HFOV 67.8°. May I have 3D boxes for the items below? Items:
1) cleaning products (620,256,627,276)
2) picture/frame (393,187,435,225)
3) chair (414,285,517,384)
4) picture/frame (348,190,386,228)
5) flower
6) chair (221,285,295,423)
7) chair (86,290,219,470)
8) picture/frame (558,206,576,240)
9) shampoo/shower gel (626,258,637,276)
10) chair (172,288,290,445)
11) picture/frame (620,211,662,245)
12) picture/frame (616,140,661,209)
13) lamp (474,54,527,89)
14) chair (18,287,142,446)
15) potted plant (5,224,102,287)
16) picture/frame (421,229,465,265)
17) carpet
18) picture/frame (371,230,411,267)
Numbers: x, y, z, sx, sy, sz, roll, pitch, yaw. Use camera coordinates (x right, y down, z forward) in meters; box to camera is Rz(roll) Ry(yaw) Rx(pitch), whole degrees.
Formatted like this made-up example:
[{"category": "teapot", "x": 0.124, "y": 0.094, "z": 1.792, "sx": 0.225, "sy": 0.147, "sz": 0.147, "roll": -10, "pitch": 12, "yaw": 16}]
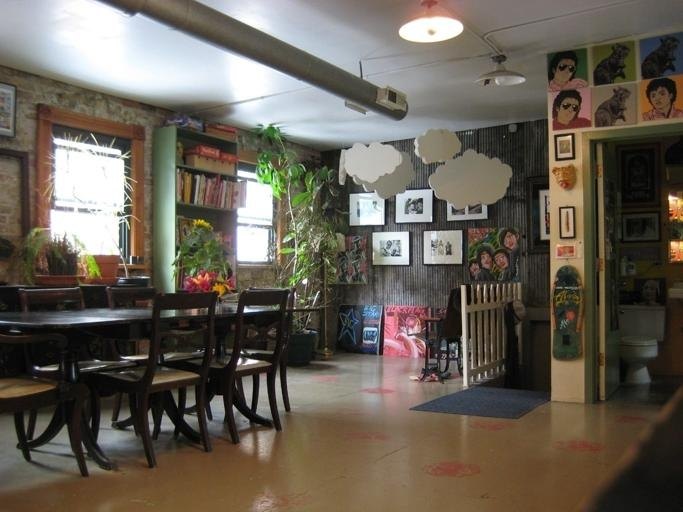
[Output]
[{"category": "cleaning products", "x": 3.589, "y": 0.139, "z": 6.491, "sx": 0.101, "sy": 0.324, "sz": 0.235, "roll": 1, "pitch": -1, "yaw": 32}, {"category": "picture/frame", "x": 1.167, "y": -0.788, "z": 7.990, "sx": 0.595, "sy": 0.518, "sz": 0.043, "roll": 0, "pitch": -6, "yaw": 29}, {"category": "chair", "x": 1.487, "y": 0.911, "z": 6.299, "sx": 0.771, "sy": 1.092, "sz": 1.418, "roll": -3, "pitch": -4, "yaw": 38}, {"category": "picture/frame", "x": 0.445, "y": -0.780, "z": 8.339, "sx": 0.623, "sy": 0.548, "sz": 0.064, "roll": 0, "pitch": -4, "yaw": 25}, {"category": "flower", "x": -1.611, "y": 0.071, "z": 5.906, "sx": 0.697, "sy": 0.961, "sz": 0.711, "roll": -11, "pitch": -16, "yaw": 13}, {"category": "chair", "x": -0.690, "y": 0.848, "z": 4.148, "sx": 0.601, "sy": 0.953, "sz": 0.546, "roll": -19, "pitch": 0, "yaw": -27}, {"category": "chair", "x": -1.242, "y": 0.780, "z": 3.467, "sx": 0.693, "sy": 1.011, "sz": 0.592, "roll": -3, "pitch": -6, "yaw": 28}, {"category": "picture/frame", "x": 2.180, "y": -0.320, "z": 4.928, "sx": 0.023, "sy": 0.323, "sz": 0.158, "roll": -7, "pitch": 6, "yaw": -37}, {"category": "shampoo/shower gel", "x": 3.748, "y": 0.136, "z": 6.604, "sx": 0.107, "sy": 0.188, "sz": 0.214, "roll": -5, "pitch": -6, "yaw": 33}, {"category": "chair", "x": -0.827, "y": 0.809, "z": 3.939, "sx": 0.698, "sy": 1.050, "sz": 0.626, "roll": -4, "pitch": -5, "yaw": 35}, {"category": "picture/frame", "x": 3.979, "y": -0.364, "z": 6.744, "sx": 0.409, "sy": 0.424, "sz": 0.032, "roll": 5, "pitch": -2, "yaw": 28}, {"category": "picture/frame", "x": 4.004, "y": -1.036, "z": 6.881, "sx": 0.513, "sy": 0.977, "sz": 0.082, "roll": 6, "pitch": 25, "yaw": 43}, {"category": "lamp", "x": 1.472, "y": -1.727, "z": 4.735, "sx": 0.418, "sy": 0.229, "sz": 0.429, "roll": 2, "pitch": 10, "yaw": 19}, {"category": "chair", "x": -2.007, "y": 0.763, "z": 3.753, "sx": 0.765, "sy": 0.958, "sz": 0.780, "roll": 8, "pitch": 5, "yaw": -11}, {"category": "potted plant", "x": -2.884, "y": -0.005, "z": 5.152, "sx": 0.824, "sy": 0.580, "sz": 0.447, "roll": 1, "pitch": -3, "yaw": -28}, {"category": "picture/frame", "x": 1.584, "y": -0.139, "z": 7.812, "sx": 0.536, "sy": 0.460, "sz": 0.041, "roll": -1, "pitch": -6, "yaw": 34}, {"category": "carpet", "x": 1.385, "y": 1.386, "z": 4.850, "sx": 0.919, "sy": 0.019, "sz": 1.428, "roll": -2, "pitch": -4, "yaw": 37}, {"category": "picture/frame", "x": 0.830, "y": -0.118, "z": 8.269, "sx": 0.577, "sy": 0.496, "sz": 0.047, "roll": -1, "pitch": -5, "yaw": 29}]
